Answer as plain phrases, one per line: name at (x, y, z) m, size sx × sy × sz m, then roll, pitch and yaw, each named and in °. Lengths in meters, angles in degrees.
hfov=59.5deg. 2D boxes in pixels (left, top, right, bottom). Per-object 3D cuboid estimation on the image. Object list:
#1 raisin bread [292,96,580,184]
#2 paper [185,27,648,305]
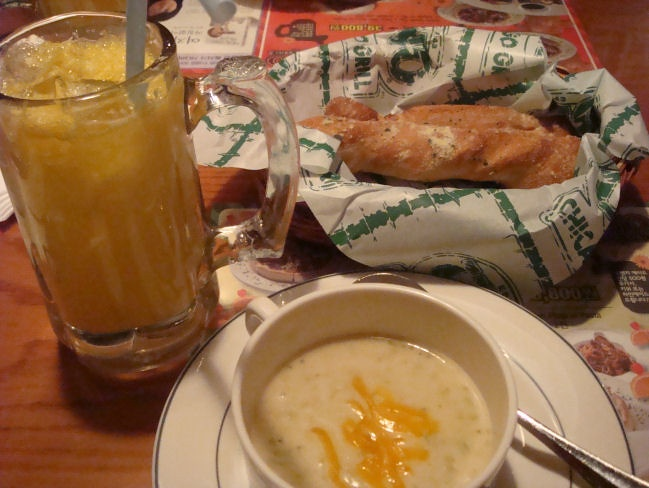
raisin bread at (0.153, -0.156, 0.963) m, size 0.489 × 0.092 × 0.156 m, roll 3°, pitch 52°, yaw 3°
paper at (0.087, -0.077, 0.944) m, size 0.707 × 0.209 × 0.466 m, roll 6°, pitch 46°, yaw 5°
